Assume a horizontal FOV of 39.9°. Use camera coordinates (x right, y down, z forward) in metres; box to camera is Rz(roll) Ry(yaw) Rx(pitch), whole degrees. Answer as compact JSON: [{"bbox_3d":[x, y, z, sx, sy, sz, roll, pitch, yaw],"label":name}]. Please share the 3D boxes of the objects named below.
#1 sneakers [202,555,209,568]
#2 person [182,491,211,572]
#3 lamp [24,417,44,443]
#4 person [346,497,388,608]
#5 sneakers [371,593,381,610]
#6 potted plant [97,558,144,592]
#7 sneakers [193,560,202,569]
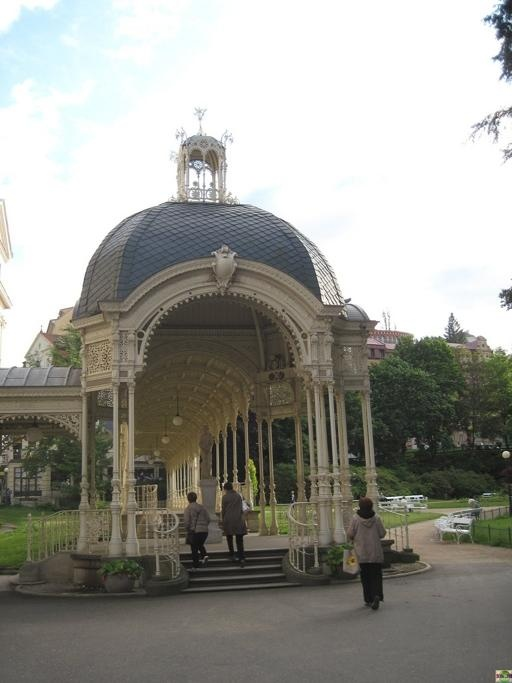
[{"bbox_3d":[-0.935,4.150,13.199,0.076,0.190,0.087,4,8,-22],"label":"sneakers"},{"bbox_3d":[-1.123,3.598,13.533,0.433,1.376,1.043,-3,-12,-5],"label":"person"},{"bbox_3d":[-5.611,2.199,17.801,0.502,0.962,0.443,0,-48,-11],"label":"lamp"},{"bbox_3d":[1.454,2.744,9.184,0.439,1.341,0.390,-5,-13,6],"label":"person"},{"bbox_3d":[1.510,3.240,8.723,0.099,0.196,0.098,8,2,-1],"label":"sneakers"},{"bbox_3d":[-2.356,4.067,12.358,0.698,0.403,0.645,-5,-10,10],"label":"potted plant"},{"bbox_3d":[-1.083,4.163,13.167,0.114,0.166,0.344,-5,-12,4],"label":"sneakers"}]
